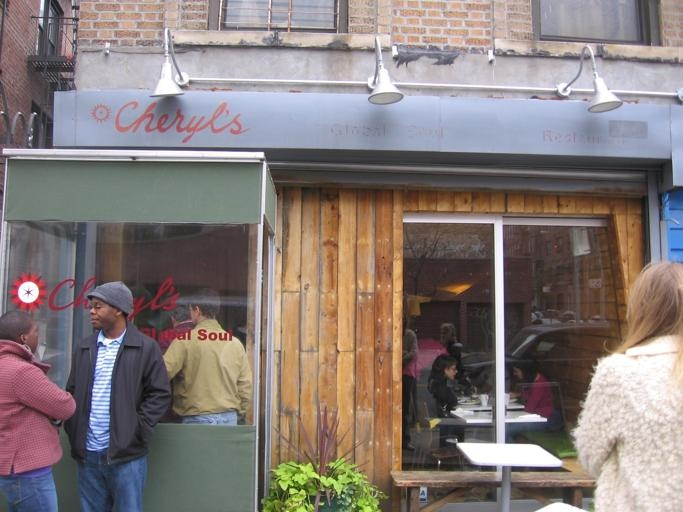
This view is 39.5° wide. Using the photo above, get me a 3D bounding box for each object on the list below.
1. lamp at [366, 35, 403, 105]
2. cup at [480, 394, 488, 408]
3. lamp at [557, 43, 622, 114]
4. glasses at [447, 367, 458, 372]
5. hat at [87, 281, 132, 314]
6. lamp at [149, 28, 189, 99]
[{"bbox_3d":[0.401,-1.836,9.359,0.362,0.616,0.966,-3,16,-1],"label":"lamp"},{"bbox_3d":[1.459,1.479,9.670,0.102,0.131,0.107,0,-5,0],"label":"cup"},{"bbox_3d":[2.531,-1.819,9.530,0.471,0.804,0.683,4,-7,-24],"label":"lamp"},{"bbox_3d":[1.122,1.157,9.731,0.063,0.039,0.051,-10,-2,8],"label":"glasses"},{"bbox_3d":[-1.951,0.347,8.068,0.317,0.310,0.243,-1,-2,-23],"label":"hat"},{"bbox_3d":[-1.676,-1.912,9.416,0.357,0.771,0.476,2,-6,-9],"label":"lamp"}]
